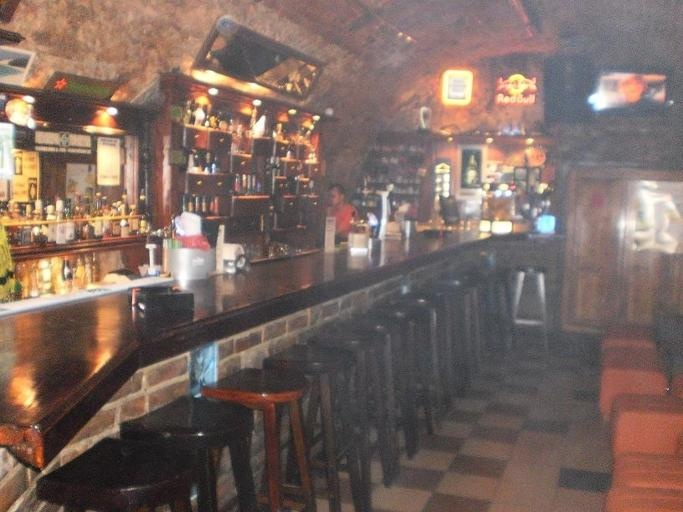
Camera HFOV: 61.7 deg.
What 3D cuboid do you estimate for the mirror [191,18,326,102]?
[{"bbox_3d":[-1.047,-2.374,6.899,0.079,0.534,1.615,44,20,23],"label":"mirror"}]

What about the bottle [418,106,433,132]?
[{"bbox_3d":[1.653,-2.777,11.352,0.255,0.474,0.366,1,6,0],"label":"bottle"}]

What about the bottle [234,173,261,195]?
[{"bbox_3d":[-1.299,-1.004,7.993,0.275,0.463,0.275,3,21,-1],"label":"bottle"}]

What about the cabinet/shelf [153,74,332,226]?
[{"bbox_3d":[-1.330,-1.442,7.462,0.314,1.263,2.387,2,5,21],"label":"cabinet/shelf"}]
